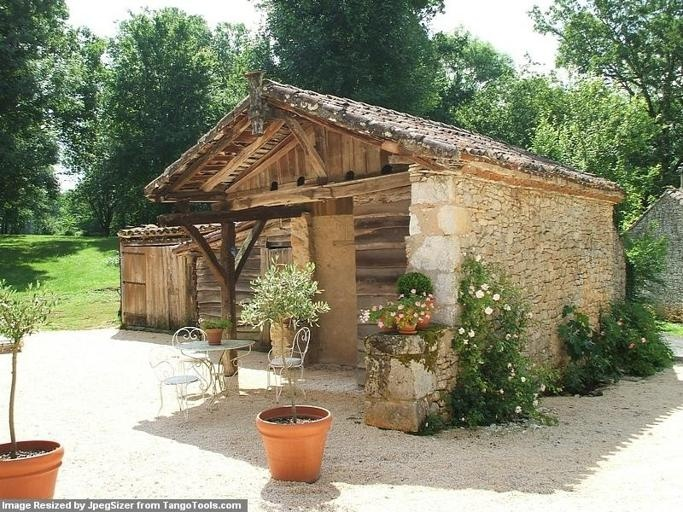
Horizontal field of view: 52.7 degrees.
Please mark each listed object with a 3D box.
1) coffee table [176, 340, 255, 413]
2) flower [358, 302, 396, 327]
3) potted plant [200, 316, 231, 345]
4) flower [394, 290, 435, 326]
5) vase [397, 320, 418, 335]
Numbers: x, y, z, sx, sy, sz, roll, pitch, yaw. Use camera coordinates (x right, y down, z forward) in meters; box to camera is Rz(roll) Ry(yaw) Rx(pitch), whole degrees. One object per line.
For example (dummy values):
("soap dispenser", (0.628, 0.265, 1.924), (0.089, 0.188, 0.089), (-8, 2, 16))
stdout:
("coffee table", (-2.395, 2.038, 12.476), (1.452, 0.782, 1.422), (2, 1, 33))
("flower", (0.601, 0.902, 10.522), (0.615, 0.260, 0.481), (0, 1, -11))
("potted plant", (-2.123, 1.252, 11.679), (0.622, 0.467, 0.513), (-1, -9, -4))
("flower", (1.087, 0.800, 10.559), (0.641, 0.485, 0.573), (1, -6, -13))
("vase", (0.981, 1.050, 10.238), (0.254, 0.122, 0.226), (1, -1, -8))
